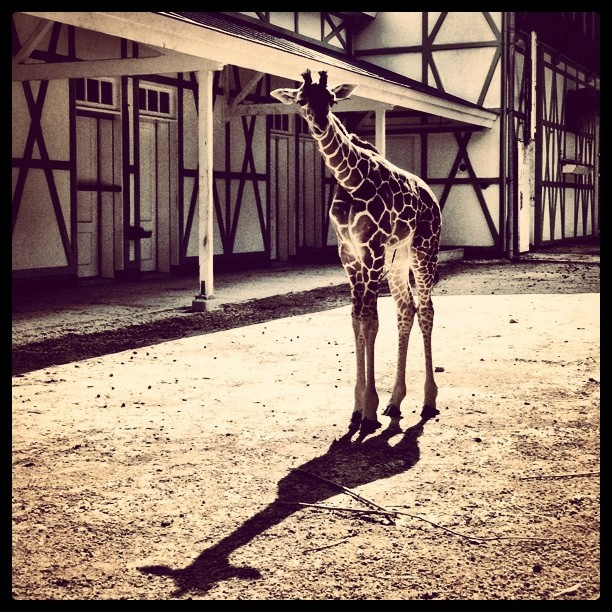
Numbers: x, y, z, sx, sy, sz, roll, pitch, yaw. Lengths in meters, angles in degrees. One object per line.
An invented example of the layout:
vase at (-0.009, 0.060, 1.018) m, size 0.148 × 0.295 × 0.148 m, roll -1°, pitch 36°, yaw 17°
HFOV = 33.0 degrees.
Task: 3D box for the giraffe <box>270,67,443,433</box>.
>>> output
giraffe at (0.427, -0.312, 6.006) m, size 0.489 × 2.010 × 1.059 m, roll 2°, pitch 4°, yaw 36°
